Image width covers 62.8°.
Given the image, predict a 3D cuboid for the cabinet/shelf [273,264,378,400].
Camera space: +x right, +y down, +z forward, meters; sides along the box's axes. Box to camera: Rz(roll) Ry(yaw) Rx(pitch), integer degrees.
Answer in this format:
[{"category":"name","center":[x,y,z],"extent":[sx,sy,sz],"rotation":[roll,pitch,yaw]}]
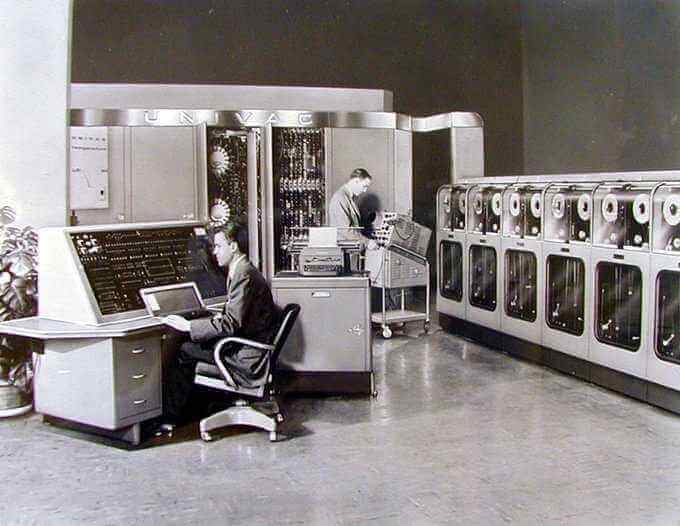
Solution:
[{"category":"cabinet/shelf","center":[-0.185,0.828,5.956],"extent":[1.000,1.109,0.797],"rotation":[-1,-19,1]}]

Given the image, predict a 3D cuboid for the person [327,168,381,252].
[{"category":"person","center":[0.178,-0.779,7.923],"extent":[0.698,1.166,1.069],"rotation":[-1,7,-2]}]

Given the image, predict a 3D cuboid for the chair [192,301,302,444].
[{"category":"chair","center":[-0.937,0.975,5.243],"extent":[1.010,1.580,1.039],"rotation":[2,-2,-2]}]

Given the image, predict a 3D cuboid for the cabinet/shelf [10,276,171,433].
[{"category":"cabinet/shelf","center":[-2.102,0.788,4.732],"extent":[1.014,0.749,1.077],"rotation":[1,3,21]}]
